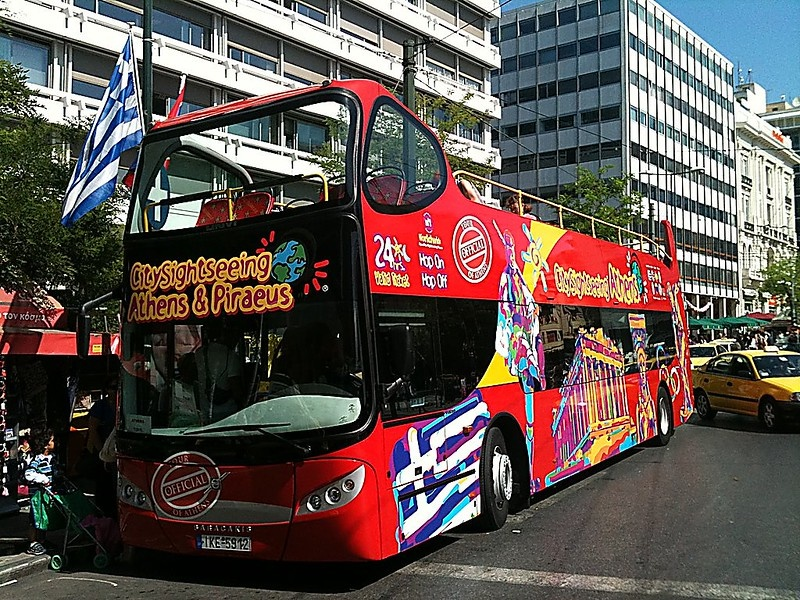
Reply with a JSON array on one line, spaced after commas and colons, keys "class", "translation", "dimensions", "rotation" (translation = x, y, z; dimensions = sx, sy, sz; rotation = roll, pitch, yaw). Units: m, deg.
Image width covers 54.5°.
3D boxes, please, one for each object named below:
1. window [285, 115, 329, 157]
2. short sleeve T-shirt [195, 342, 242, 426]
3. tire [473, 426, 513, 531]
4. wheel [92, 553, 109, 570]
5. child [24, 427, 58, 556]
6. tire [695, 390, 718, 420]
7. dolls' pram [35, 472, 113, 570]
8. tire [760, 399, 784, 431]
[{"class": "window", "translation": [-1.761, -3.148, 14.737], "dimensions": [0.037, 0.709, 1.116], "rotation": [3, 1, 37]}, {"class": "short sleeve T-shirt", "translation": [-1.919, 0.877, 8.328], "dimensions": [0.443, 0.838, 0.794], "rotation": [-5, 14, -44]}, {"class": "tire", "translation": [1.167, 2.277, 9.832], "dimensions": [0.361, 0.977, 1.010], "rotation": [-7, -31, 14]}, {"class": "wheel", "translation": [-3.443, 3.014, 8.996], "dimensions": [0.161, 0.179, 0.148], "rotation": [-1, -1, 0]}, {"class": "child", "translation": [-4.340, 2.368, 9.498], "dimensions": [0.328, 1.381, 0.565], "rotation": [-2, -11, 4]}, {"class": "tire", "translation": [8.136, 2.740, 20.493], "dimensions": [0.245, 0.849, 0.789], "rotation": [1, -7, -11]}, {"class": "dolls' pram", "translation": [-3.828, 2.620, 9.141], "dimensions": [1.055, 1.053, 0.683], "rotation": [-4, -3, 16]}, {"class": "tire", "translation": [8.618, 2.625, 17.885], "dimensions": [0.225, 0.785, 0.726], "rotation": [2, 3, -15]}]
